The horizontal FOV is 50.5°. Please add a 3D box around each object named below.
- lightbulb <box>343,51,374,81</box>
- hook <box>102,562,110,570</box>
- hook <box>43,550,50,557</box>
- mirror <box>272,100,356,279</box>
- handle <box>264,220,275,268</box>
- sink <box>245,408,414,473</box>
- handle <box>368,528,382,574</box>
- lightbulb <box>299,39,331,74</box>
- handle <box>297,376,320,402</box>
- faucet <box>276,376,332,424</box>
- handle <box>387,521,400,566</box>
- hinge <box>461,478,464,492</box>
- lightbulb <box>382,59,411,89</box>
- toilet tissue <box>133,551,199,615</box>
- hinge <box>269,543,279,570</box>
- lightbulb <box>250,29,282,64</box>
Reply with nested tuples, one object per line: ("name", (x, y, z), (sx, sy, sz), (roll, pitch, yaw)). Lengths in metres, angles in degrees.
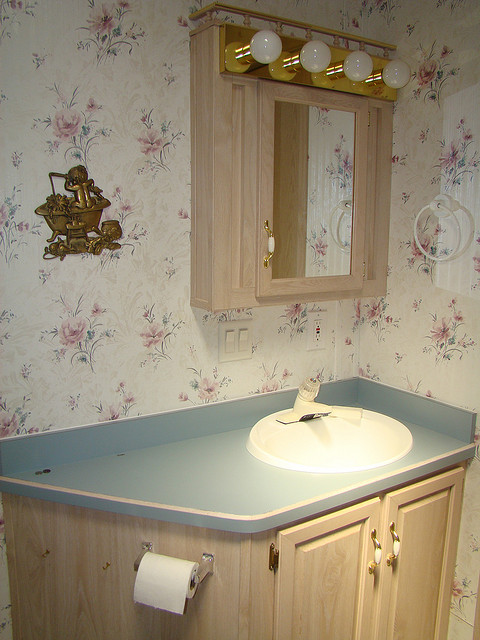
("lightbulb", (0.298, -0.641, 1.284), (0.077, 0.071, 0.060), (-1, 8, -11))
("hook", (-0.293, 0.537, 1.114), (0.015, 0.019, 0.002), (2, 8, 6))
("hook", (-0.435, 0.524, 1.144), (0.016, 0.019, 0.001), (2, 8, 10))
("mirror", (0.216, -0.371, 1.376), (0.311, 0.433, 0.015), (16, 31, 30))
("handle", (0.077, -0.195, 1.311), (0.016, 0.121, 0.039), (6, 9, 35))
("sink", (0.250, 0.361, 1.402), (0.472, 0.125, 0.343), (0, 8, -9))
("handle", (0.334, 0.565, 1.241), (0.027, 0.118, 0.048), (7, 10, 39))
("lightbulb", (0.171, -0.622, 1.211), (0.067, 0.067, 0.095), (0, 8, -9))
("handle", (0.196, 0.201, 1.465), (0.056, 0.069, 0.045), (1, 8, -1))
("faucet", (0.190, 0.228, 1.523), (0.138, 0.155, 0.135), (18, 31, 29))
("handle", (0.384, 0.560, 1.274), (0.026, 0.114, 0.064), (3, 8, 19))
("hinge", (0.632, 0.469, 1.447), (0.001, 0.043, 0.013), (8, 11, 43))
("lightbulb", (0.411, -0.653, 1.345), (0.070, 0.080, 0.052), (-3, 9, -25))
("toilet tissue", (-0.148, 0.531, 1.040), (0.112, 0.104, 0.091), (6, -1, 13))
("hinge", (0.070, 0.493, 1.060), (0.020, 0.056, 0.009), (1, 8, 4))
("lightbulb", (0.055, -0.588, 1.103), (0.066, 0.079, 0.067), (-9, 3, 2))
